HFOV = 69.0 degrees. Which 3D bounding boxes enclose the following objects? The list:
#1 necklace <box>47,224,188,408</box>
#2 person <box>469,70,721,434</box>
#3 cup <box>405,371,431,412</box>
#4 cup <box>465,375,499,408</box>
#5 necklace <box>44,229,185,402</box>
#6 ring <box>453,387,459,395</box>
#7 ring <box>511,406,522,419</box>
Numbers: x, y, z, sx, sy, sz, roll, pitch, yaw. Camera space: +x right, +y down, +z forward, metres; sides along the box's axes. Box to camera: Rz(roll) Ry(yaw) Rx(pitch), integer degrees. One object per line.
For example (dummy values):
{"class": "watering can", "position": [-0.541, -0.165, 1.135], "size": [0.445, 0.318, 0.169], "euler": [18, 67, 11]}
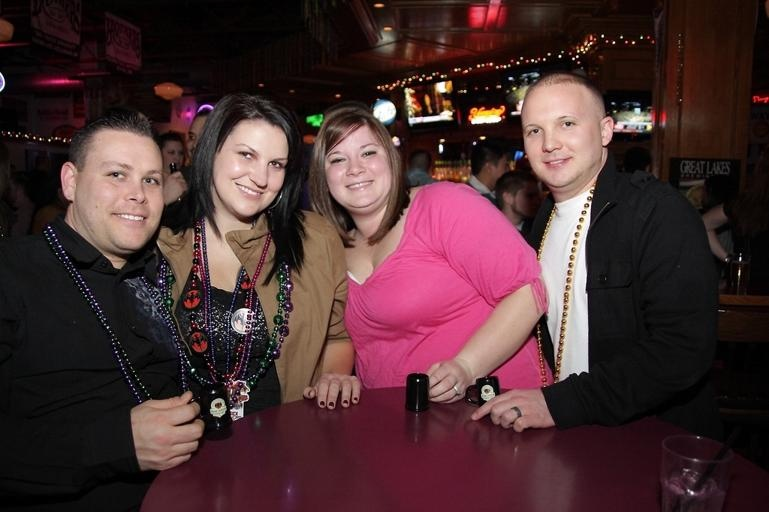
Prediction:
{"class": "necklace", "position": [-1.228, 0.253, 2.564], "size": [0.147, 0.834, 0.523], "euler": [-22, 3, 35]}
{"class": "person", "position": [0.955, -0.091, 2.534], "size": [0.861, 1.466, 0.866], "euler": [-3, 14, -2]}
{"class": "cup", "position": [0.138, 0.589, 2.399], "size": [0.104, 0.132, 0.155], "euler": [1, 1, 3]}
{"class": "cup", "position": [0.430, 0.588, 2.431], "size": [0.101, 0.133, 0.156], "euler": [10, -12, -35]}
{"class": "necklace", "position": [-1.313, 0.274, 2.643], "size": [0.143, 0.809, 0.513], "euler": [-20, 3, 36]}
{"class": "ring", "position": [0.315, 0.598, 2.470], "size": [0.027, 0.026, 0.007], "euler": [-1, -1, -34]}
{"class": "ring", "position": [0.544, 0.640, 2.289], "size": [0.036, 0.036, 0.036], "euler": [-29, -2, -1]}
